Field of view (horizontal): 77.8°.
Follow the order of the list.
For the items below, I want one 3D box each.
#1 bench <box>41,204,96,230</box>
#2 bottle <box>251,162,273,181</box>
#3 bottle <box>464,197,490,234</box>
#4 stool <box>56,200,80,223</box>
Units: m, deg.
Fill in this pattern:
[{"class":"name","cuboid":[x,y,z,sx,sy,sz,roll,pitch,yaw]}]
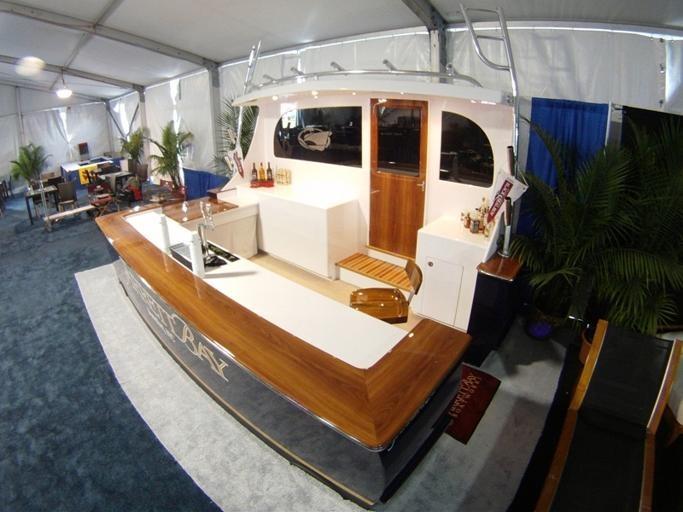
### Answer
[{"class":"bench","cuboid":[-5.691,-0.855,8.878,0.950,0.302,1.197,9,22,35]},{"class":"bottle","cuboid":[-1.259,-1.312,6.648,0.294,0.333,0.112,0,18,-8]},{"class":"bottle","cuboid":[1.524,-0.461,4.807,0.323,0.354,0.380,4,18,23]},{"class":"stool","cuboid":[-5.849,-0.946,9.024,0.349,0.122,0.476,-21,34,-32]}]
